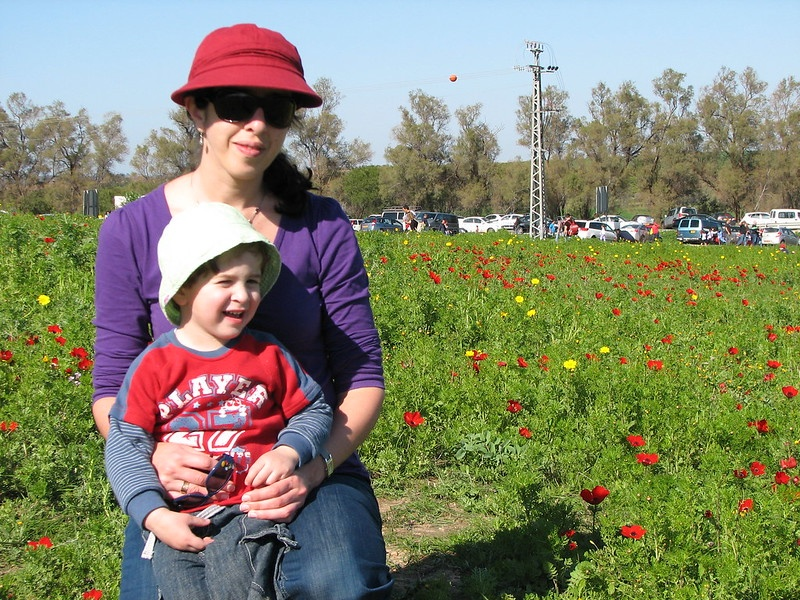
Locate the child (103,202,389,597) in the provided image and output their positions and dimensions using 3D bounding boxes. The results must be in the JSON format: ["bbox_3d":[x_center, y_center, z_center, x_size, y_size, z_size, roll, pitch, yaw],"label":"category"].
[{"bbox_3d":[-0.723,0.479,2.879,0.847,0.283,0.941,-3,37,-22],"label":"child"}]

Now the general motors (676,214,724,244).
[{"bbox_3d":[15.551,-3.809,37.571,1.425,1.345,2.526,8,16,42],"label":"general motors"}]

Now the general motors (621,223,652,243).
[{"bbox_3d":[12.065,-3.511,36.711,0.915,0.789,2.067,4,12,25],"label":"general motors"}]

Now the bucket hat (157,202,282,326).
[{"bbox_3d":[-0.779,-0.094,2.971,0.466,0.434,0.484,-17,35,-22],"label":"bucket hat"}]

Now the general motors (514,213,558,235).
[{"bbox_3d":[7.821,-4.334,41.445,2.595,1.494,1.662,-3,5,1],"label":"general motors"}]

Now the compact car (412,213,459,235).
[{"bbox_3d":[2.197,-4.130,42.518,1.747,1.635,3.021,-6,14,-39],"label":"compact car"}]
